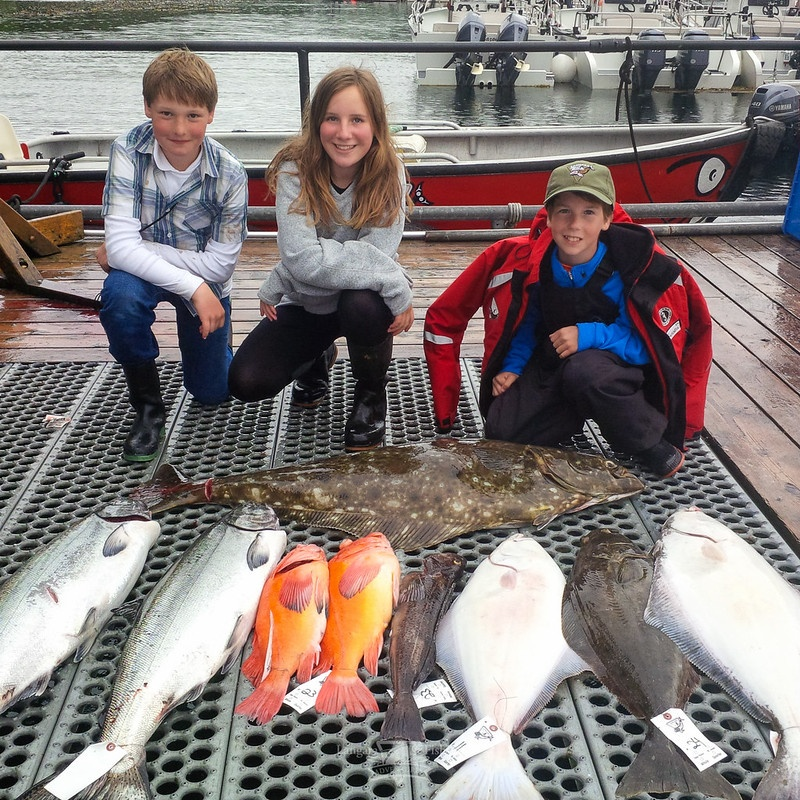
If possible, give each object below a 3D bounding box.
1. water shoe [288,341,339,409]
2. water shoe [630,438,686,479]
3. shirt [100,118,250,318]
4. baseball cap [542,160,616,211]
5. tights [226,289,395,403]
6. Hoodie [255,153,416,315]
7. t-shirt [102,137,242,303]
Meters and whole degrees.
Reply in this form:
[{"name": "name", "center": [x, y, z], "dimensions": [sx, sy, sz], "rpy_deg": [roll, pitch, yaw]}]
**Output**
[{"name": "water shoe", "center": [-0.332, -0.129, 3.137], "dimensions": [0.126, 0.231, 0.335], "rpy_deg": [20, 46, 3]}, {"name": "water shoe", "center": [0.915, 0.209, 2.654], "dimensions": [0.115, 0.075, 0.238], "rpy_deg": [27, 2, 13]}, {"name": "shirt", "center": [-0.852, -0.590, 2.714], "dimensions": [0.572, 0.671, 0.422], "rpy_deg": [-7, 43, -42]}, {"name": "baseball cap", "center": [0.627, -0.736, 2.616], "dimensions": [0.234, 0.155, 0.221], "rpy_deg": [6, 32, 9]}, {"name": "tights", "center": [-0.324, -0.209, 2.827], "dimensions": [0.413, 0.228, 0.552], "rpy_deg": [35, 44, 28]}, {"name": "Hoodie", "center": [-0.228, -0.534, 2.650], "dimensions": [0.501, 0.216, 0.544], "rpy_deg": [2, 76, 2]}, {"name": "t-shirt", "center": [-0.794, -0.645, 2.650], "dimensions": [0.345, 0.579, 0.394], "rpy_deg": [14, 36, 20]}]
